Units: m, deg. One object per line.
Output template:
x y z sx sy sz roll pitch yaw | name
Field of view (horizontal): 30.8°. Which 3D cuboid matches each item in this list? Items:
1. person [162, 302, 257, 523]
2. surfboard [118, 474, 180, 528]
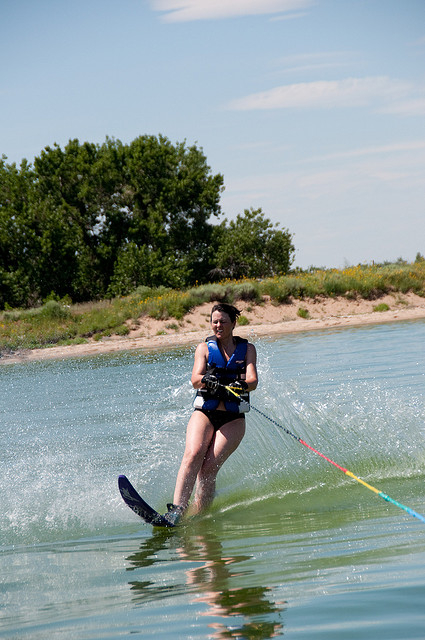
-0.015 0.624 5.447 0.485 1.442 1.065 -2 4 37 | person
-0.403 1.166 4.925 0.349 0.414 0.208 -5 4 -3 | surfboard
